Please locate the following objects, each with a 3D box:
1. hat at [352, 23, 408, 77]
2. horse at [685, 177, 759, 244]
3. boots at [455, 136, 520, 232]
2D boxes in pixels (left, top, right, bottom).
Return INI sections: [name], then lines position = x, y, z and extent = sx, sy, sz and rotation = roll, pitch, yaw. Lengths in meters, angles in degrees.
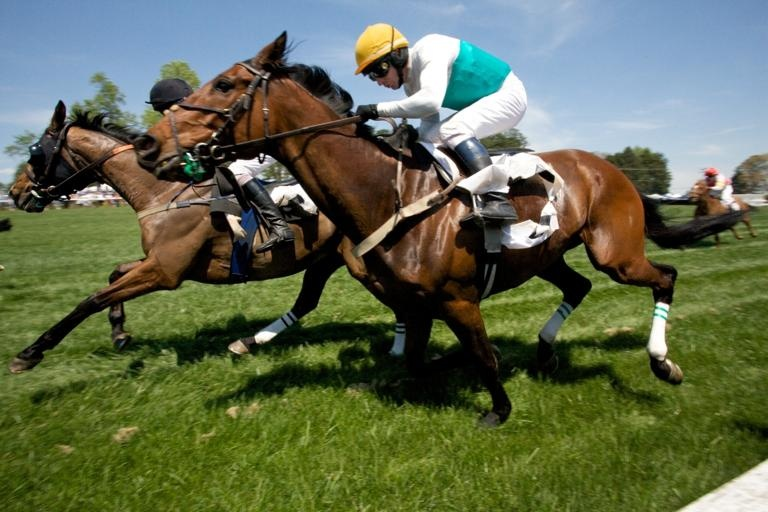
[hat]
position = -0.020, -1.724, 4.359
extent = 0.527, 0.205, 0.314
rotation = -22, -1, 5
[horse]
position = 8.768, -1.143, 13.327
extent = 3.121, 1.309, 0.633
rotation = -5, 8, -29
[boots]
position = 0.837, -0.620, 4.219
extent = 0.471, 0.726, 0.430
rotation = -4, 13, 7
